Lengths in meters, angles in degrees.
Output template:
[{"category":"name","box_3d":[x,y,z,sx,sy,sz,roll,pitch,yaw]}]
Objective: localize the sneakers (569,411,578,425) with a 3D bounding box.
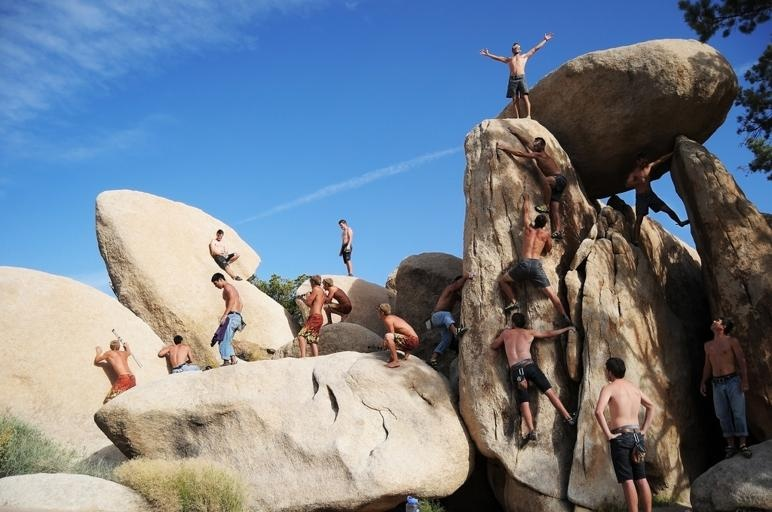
[{"category":"sneakers","box_3d":[4.881,4.291,18.826,0.134,0.471,0.183,-3,-19,14]}]

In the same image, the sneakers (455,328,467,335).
[{"category":"sneakers","box_3d":[2.031,2.087,19.684,0.125,0.250,0.419,1,-14,-30]}]

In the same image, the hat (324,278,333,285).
[{"category":"hat","box_3d":[-1.683,0.745,21.034,0.173,0.253,0.214,10,-10,-21]}]

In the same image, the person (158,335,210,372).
[{"category":"person","box_3d":[-6.592,3.187,23.251,1.113,0.875,0.744,-5,-4,9]}]

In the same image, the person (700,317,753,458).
[{"category":"person","box_3d":[8.786,3.373,18.602,1.009,3.470,1.421,-10,-11,27]}]

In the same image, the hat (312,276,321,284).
[{"category":"hat","box_3d":[-1.969,0.700,20.309,0.184,0.273,0.240,1,-2,11]}]

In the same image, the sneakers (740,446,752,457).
[{"category":"sneakers","box_3d":[8.817,4.830,17.647,0.115,0.150,0.376,-16,-37,18]}]
